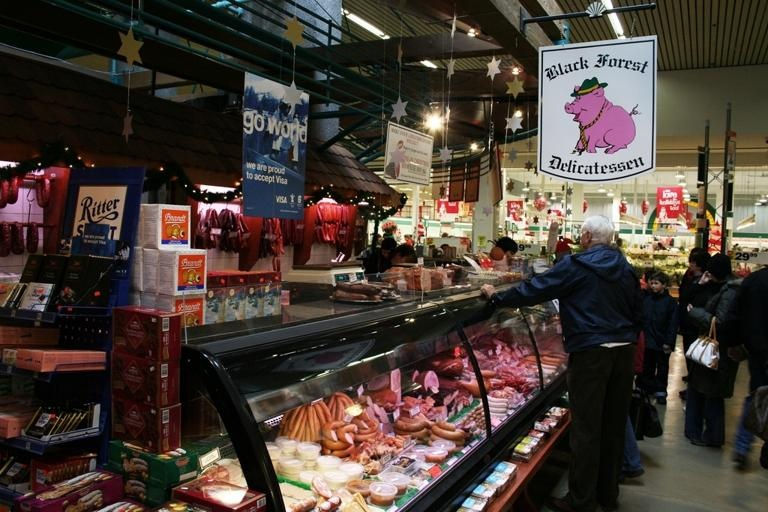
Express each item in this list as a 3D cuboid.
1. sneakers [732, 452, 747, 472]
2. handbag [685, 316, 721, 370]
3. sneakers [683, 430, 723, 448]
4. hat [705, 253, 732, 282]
[{"bbox_3d":[3.751,2.150,5.343,0.103,0.158,0.116,-8,10,-40],"label":"sneakers"},{"bbox_3d":[3.453,0.910,5.472,0.256,0.572,0.327,0,1,14],"label":"handbag"},{"bbox_3d":[3.577,2.037,5.708,0.126,0.151,0.365,3,-5,-44],"label":"sneakers"},{"bbox_3d":[4.075,0.124,6.141,0.261,0.337,0.313,0,2,32],"label":"hat"}]
